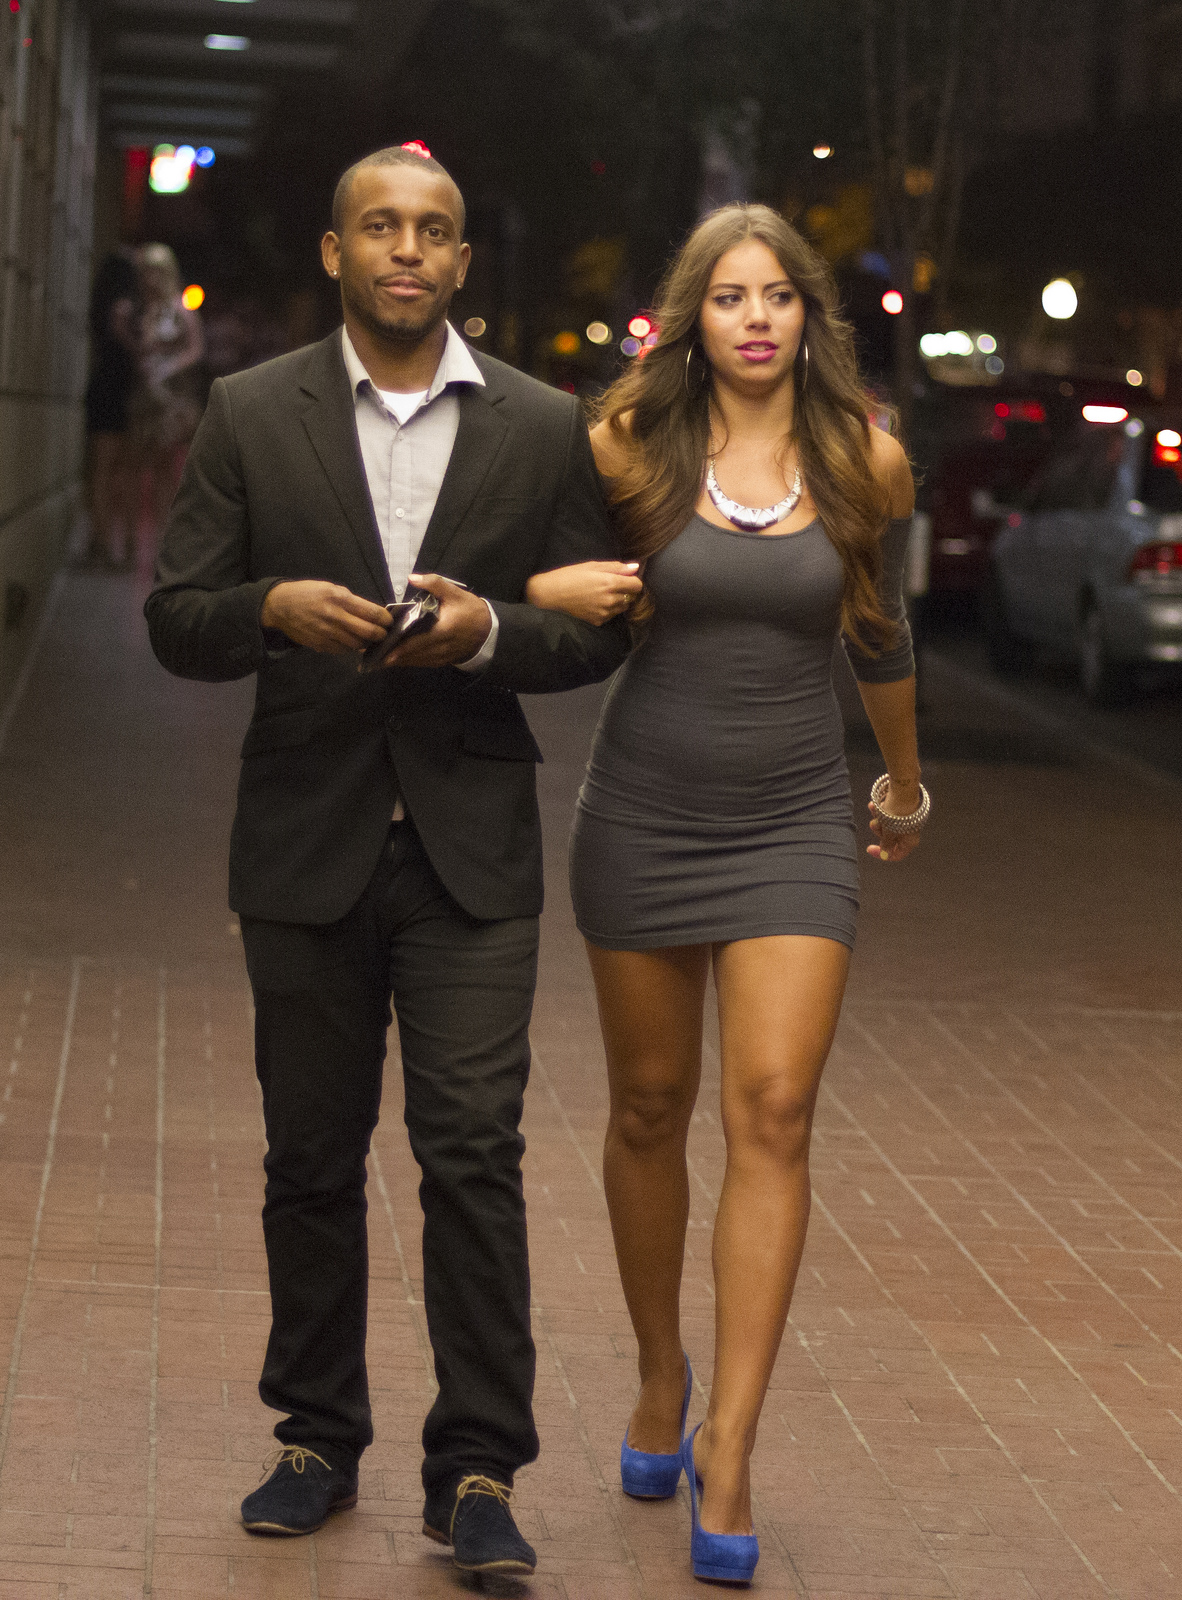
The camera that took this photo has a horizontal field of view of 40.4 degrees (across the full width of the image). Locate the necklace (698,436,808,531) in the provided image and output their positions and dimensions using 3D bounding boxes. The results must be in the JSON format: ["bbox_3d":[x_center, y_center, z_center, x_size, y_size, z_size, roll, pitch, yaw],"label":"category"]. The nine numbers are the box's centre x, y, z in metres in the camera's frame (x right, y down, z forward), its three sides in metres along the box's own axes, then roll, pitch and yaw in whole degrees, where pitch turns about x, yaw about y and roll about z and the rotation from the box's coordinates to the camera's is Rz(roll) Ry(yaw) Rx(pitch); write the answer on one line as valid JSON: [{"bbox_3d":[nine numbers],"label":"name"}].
[{"bbox_3d":[0.238,-0.450,2.303,0.121,0.103,0.045,3,-33,-2],"label":"necklace"}]

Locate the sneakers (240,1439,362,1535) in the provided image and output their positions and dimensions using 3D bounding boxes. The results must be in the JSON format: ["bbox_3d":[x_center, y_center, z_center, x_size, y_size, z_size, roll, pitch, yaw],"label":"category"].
[{"bbox_3d":[-0.382,0.913,2.161,0.077,0.076,0.196,14,4,25],"label":"sneakers"}]

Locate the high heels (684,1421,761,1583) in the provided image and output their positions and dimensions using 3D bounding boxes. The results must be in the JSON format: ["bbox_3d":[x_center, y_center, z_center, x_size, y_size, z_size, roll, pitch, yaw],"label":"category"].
[{"bbox_3d":[0.172,0.945,2.129,0.063,0.047,0.205,1,14,-6],"label":"high heels"}]

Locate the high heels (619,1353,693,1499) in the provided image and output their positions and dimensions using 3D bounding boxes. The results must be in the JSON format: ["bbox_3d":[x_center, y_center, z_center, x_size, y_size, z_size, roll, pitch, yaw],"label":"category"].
[{"bbox_3d":[0.104,0.985,2.531,0.094,0.045,0.346,7,9,6],"label":"high heels"}]

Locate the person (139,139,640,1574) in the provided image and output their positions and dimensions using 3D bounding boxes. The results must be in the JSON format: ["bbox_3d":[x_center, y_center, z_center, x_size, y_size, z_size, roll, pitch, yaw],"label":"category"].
[{"bbox_3d":[-0.251,0.065,2.012,0.616,1.733,0.470,7,-2,-22],"label":"person"}]

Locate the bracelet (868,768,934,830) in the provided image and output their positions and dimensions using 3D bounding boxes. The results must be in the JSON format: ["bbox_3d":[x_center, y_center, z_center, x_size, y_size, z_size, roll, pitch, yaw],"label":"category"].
[{"bbox_3d":[0.588,-0.014,3.020,0.130,0.120,0.078,-6,-15,-3],"label":"bracelet"}]

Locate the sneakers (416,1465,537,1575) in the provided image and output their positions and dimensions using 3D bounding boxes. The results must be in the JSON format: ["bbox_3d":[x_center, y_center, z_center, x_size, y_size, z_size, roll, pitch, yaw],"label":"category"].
[{"bbox_3d":[-0.141,0.885,1.991,0.082,0.081,0.208,3,-4,-29],"label":"sneakers"}]
